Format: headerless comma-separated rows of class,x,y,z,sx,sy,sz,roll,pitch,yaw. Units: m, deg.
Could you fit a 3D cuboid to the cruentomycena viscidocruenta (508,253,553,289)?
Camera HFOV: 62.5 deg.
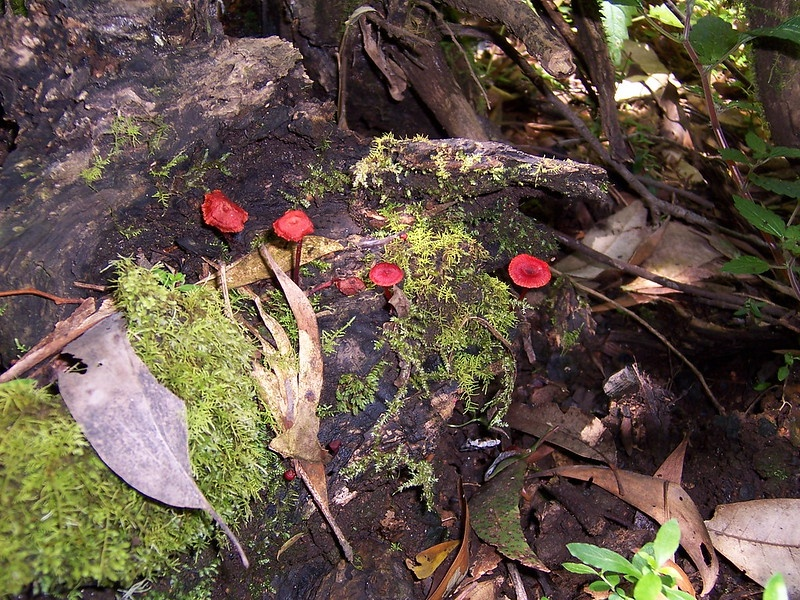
cruentomycena viscidocruenta,0.831,-0.196,4.268,0.249,0.131,0.267,-10,46,5

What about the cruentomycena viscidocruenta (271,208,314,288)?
cruentomycena viscidocruenta,-0.642,-0.289,3.957,0.194,0.441,0.227,-2,60,-13

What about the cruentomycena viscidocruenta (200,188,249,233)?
cruentomycena viscidocruenta,-1.032,-0.505,3.883,0.252,0.091,0.260,25,65,-11
